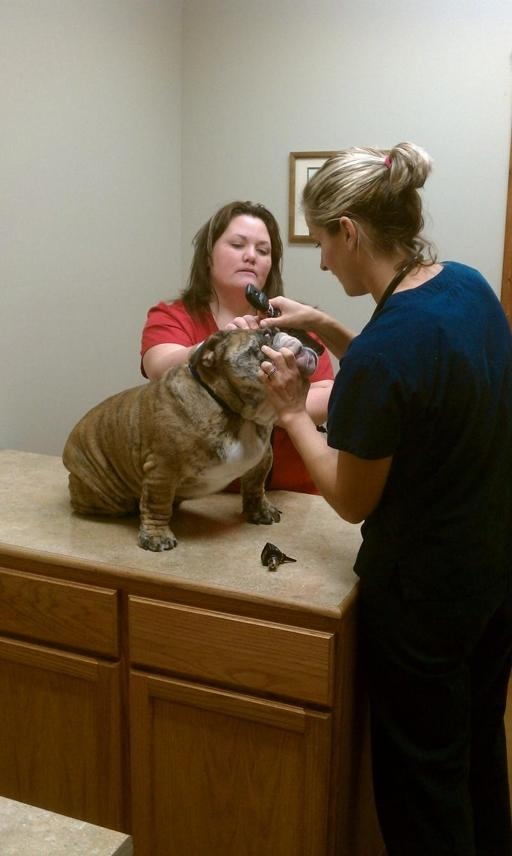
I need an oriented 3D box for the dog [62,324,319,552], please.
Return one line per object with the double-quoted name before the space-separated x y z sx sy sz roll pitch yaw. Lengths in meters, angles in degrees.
"dog" -0.138 0.017 1.456 0.565 0.383 0.354 6 11 38
